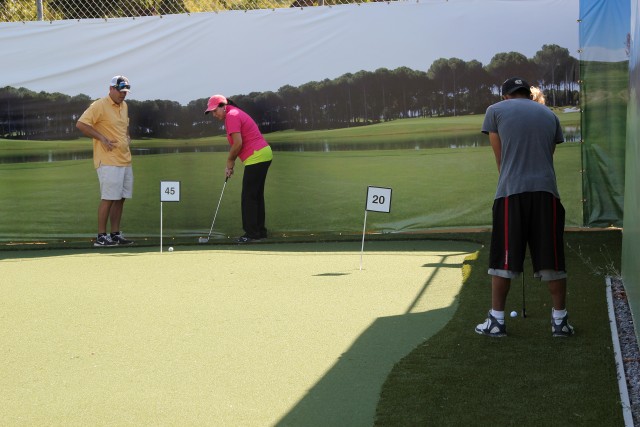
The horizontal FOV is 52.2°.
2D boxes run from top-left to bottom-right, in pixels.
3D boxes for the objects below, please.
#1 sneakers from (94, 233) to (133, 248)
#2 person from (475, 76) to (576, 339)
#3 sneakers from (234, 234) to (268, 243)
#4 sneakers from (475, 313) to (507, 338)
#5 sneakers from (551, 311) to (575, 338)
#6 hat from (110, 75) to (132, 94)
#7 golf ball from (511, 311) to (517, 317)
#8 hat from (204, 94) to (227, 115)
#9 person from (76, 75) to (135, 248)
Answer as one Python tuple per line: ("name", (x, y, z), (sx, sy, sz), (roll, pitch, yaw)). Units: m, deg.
("sneakers", (-2.816, 0.362, 8.735), (0.313, 0.098, 0.257), (1, 2, 13))
("person", (1.665, 0.032, 5.279), (0.739, 1.846, 0.544), (1, 13, 12))
("sneakers", (-0.949, 0.358, 8.844), (0.409, 0.159, 0.145), (3, 3, -3))
("sneakers", (1.395, 0.914, 5.375), (0.127, 0.180, 0.295), (0, 5, -39))
("sneakers", (1.927, 0.901, 5.197), (0.107, 0.158, 0.264), (0, 3, 26))
("hat", (-2.653, -1.699, 8.635), (0.291, 0.161, 0.200), (27, 23, 32))
("golf ball", (1.675, 0.862, 5.630), (0.049, 0.038, 0.040), (17, -1, 34))
("hat", (-1.405, -1.464, 8.762), (0.317, 0.156, 0.215), (-22, 11, -12))
("person", (-2.818, -0.537, 8.670), (0.640, 1.922, 0.405), (-6, 13, -19))
